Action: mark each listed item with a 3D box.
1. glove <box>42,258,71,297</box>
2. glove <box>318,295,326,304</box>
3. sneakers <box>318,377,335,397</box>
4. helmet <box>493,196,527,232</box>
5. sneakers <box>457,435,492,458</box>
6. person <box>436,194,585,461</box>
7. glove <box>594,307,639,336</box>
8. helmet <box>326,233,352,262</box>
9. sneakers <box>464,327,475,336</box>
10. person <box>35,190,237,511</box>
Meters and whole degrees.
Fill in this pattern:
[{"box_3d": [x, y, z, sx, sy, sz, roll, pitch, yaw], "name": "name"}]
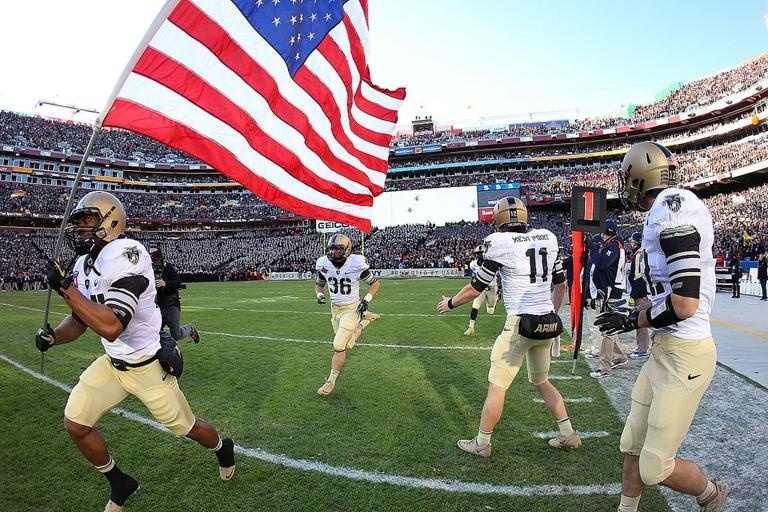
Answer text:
[{"box_3d": [-2.501, 0.238, 3.469, 0.156, 0.310, 0.349, -4, 4, -37], "name": "glove"}, {"box_3d": [-1.012, 0.885, 7.285, 0.134, 0.144, 0.166, 6, -21, -20], "name": "glove"}, {"box_3d": [-0.759, 1.997, 6.080, 0.112, 0.130, 0.283, -46, 6, 34], "name": "sneakers"}, {"box_3d": [1.375, -0.393, 4.937, 0.313, 0.349, 0.400, 2, 17, 7], "name": "helmet"}, {"box_3d": [0.925, 2.152, 4.664, 0.386, 0.156, 0.151, 4, -7, 38], "name": "sneakers"}, {"box_3d": [1.407, 0.815, 4.746, 1.564, 2.764, 0.875, -3, 4, -30], "name": "person"}, {"box_3d": [1.826, 0.633, 3.626, 0.341, 0.204, 0.127, -15, -4, 22], "name": "glove"}, {"box_3d": [-0.677, 0.022, 6.954, 0.356, 0.409, 0.441, -2, -3, 18], "name": "helmet"}, {"box_3d": [1.846, 1.950, 9.863, 0.283, 0.210, 0.103, 4, -27, -5], "name": "sneakers"}, {"box_3d": [-2.198, 0.914, 3.896, 1.507, 2.865, 0.916, -2, 4, -15], "name": "person"}]
